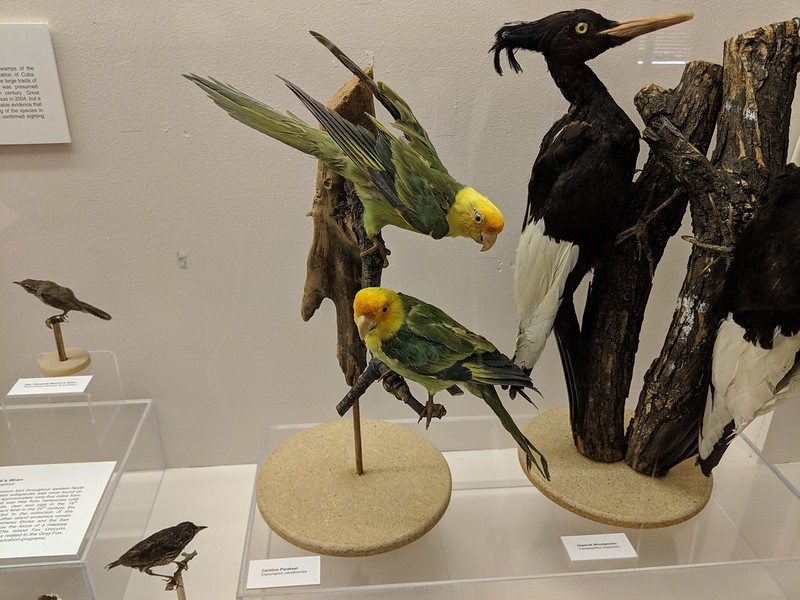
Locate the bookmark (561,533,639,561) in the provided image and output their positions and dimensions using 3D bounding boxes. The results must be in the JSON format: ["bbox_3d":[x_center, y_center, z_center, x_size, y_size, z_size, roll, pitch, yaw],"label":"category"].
[{"bbox_3d":[0.540,0.668,2.003,0.127,0.006,0.084,-3,27,0],"label":"bookmark"}]

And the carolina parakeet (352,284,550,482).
[{"bbox_3d":[0.076,0.115,1.778,0.325,0.535,0.297,1,17,5],"label":"carolina parakeet"}]

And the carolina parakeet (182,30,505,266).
[{"bbox_3d":[-0.126,-0.203,1.913,0.830,0.645,0.526,7,31,-14],"label":"carolina parakeet"}]

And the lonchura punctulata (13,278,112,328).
[{"bbox_3d":[-0.990,0.006,2.154,0.260,0.174,0.168,-8,24,-16],"label":"lonchura punctulata"}]

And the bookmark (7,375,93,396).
[{"bbox_3d":[-0.998,0.244,2.135,0.168,0.007,0.063,2,37,2],"label":"bookmark"}]

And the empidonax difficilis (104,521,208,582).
[{"bbox_3d":[-0.626,0.637,1.902,0.237,0.115,0.116,7,2,-20],"label":"empidonax difficilis"}]
